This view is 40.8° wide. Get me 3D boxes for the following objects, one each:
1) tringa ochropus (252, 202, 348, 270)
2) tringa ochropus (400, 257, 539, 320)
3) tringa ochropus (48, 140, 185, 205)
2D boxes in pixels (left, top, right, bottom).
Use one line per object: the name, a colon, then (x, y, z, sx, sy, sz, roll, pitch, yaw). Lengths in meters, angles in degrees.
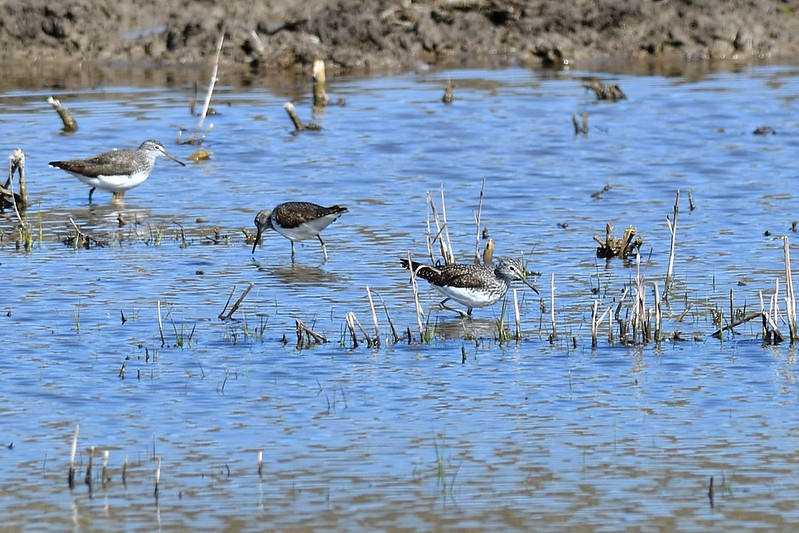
tringa ochropus: (-1.998, -0.843, 25.102, 2.634, 1.232, 0.998, 0, -3, 34)
tringa ochropus: (1.460, 0.211, 21.285, 2.549, 1.341, 0.915, 22, 15, 32)
tringa ochropus: (-7.083, -2.524, 28.902, 2.574, 1.269, 0.892, -12, 40, -21)
